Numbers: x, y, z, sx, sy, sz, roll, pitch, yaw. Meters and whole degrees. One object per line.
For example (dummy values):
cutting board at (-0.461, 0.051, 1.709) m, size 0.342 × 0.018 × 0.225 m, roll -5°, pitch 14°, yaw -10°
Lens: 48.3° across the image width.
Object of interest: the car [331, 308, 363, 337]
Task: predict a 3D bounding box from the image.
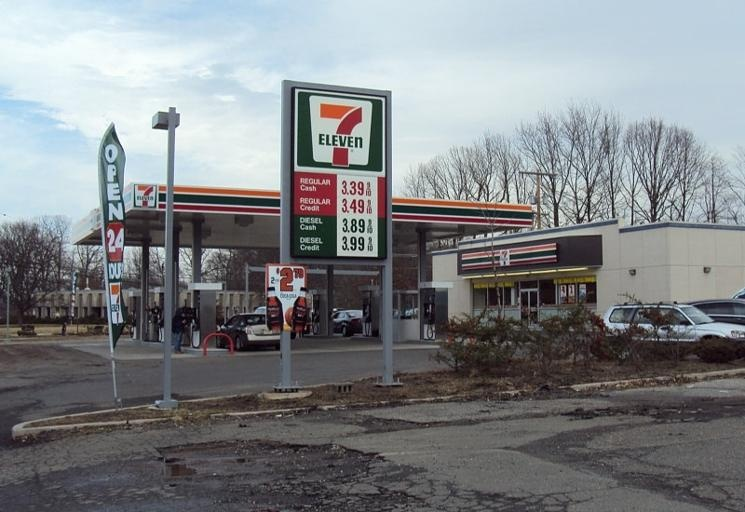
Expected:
car at (-1.377, 3.617, 45.350) m, size 1.442 × 1.393 × 3.881 m, roll -1°, pitch -4°, yaw -12°

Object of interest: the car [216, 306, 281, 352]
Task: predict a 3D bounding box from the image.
car at (-4.826, 3.049, 33.629) m, size 1.223 × 1.440 × 2.574 m, roll 2°, pitch -5°, yaw -44°
